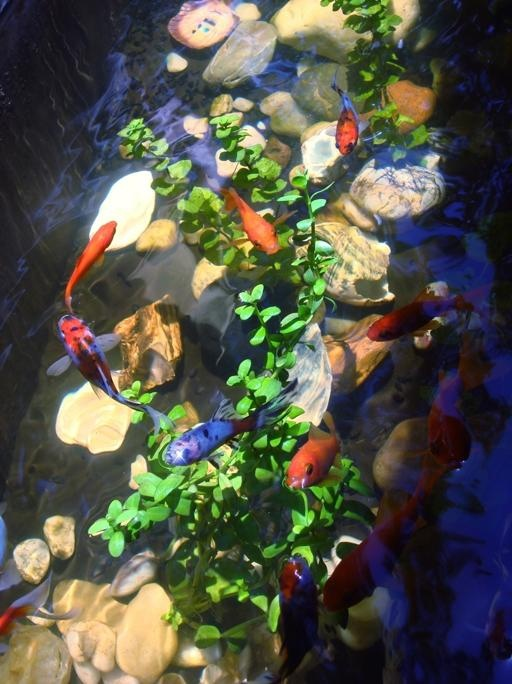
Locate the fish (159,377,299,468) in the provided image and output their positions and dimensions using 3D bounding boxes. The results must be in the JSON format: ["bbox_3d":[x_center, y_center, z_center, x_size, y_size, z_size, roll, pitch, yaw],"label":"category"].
[{"bbox_3d":[-0.081,0.301,2.115,0.545,0.227,0.122,-23,42,-28],"label":"fish"}]

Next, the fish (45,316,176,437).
[{"bbox_3d":[-0.568,0.140,2.452,0.292,0.239,0.589,-40,87,-19],"label":"fish"}]

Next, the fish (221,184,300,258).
[{"bbox_3d":[0.001,-0.503,2.617,0.238,0.179,0.327,-31,78,1],"label":"fish"}]

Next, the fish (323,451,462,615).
[{"bbox_3d":[0.494,0.694,2.235,0.252,0.130,0.628,37,67,27],"label":"fish"}]

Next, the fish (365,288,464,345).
[{"bbox_3d":[0.641,-0.094,2.502,0.445,0.175,0.076,-23,36,-8],"label":"fish"}]
